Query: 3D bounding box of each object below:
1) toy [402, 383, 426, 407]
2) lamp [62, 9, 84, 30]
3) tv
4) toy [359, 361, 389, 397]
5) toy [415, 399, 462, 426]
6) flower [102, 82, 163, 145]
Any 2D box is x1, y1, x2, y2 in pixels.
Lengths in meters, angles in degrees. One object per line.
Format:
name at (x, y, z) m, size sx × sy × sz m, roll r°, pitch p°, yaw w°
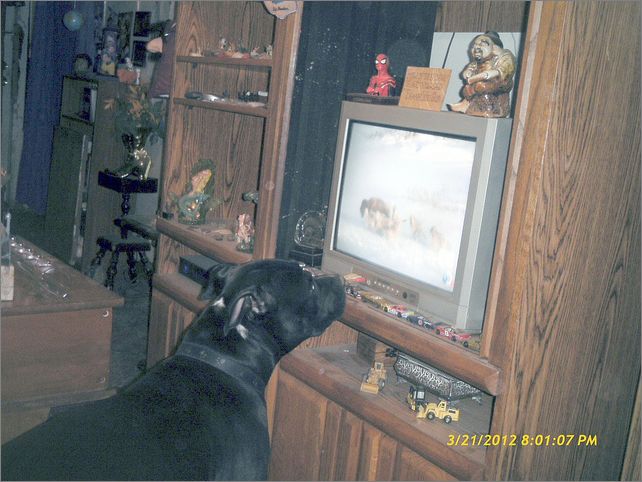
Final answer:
toy at (0.307, 0.493, 1.677) m, size 0.060 × 0.108 × 0.055 m, roll 4°, pitch 2°, yaw 41°
lamp at (-2.826, -2.527, 5.756) m, size 0.201 × 0.209 × 0.221 m, roll 0°, pitch 15°, yaw -28°
tv at (0.323, -0.082, 1.622) m, size 0.345 × 0.643 × 0.635 m, roll 3°, pitch 17°, yaw -44°
toy at (0.181, 0.473, 1.755) m, size 0.051 × 0.057 × 0.106 m, roll 7°, pitch 15°, yaw 16°
toy at (0.376, 0.534, 1.593) m, size 0.102 × 0.058 × 0.065 m, roll 2°, pitch 2°, yaw -6°
flower at (-1.591, -1.137, 4.429) m, size 0.568 × 0.612 × 0.431 m, roll -14°, pitch 14°, yaw -32°
